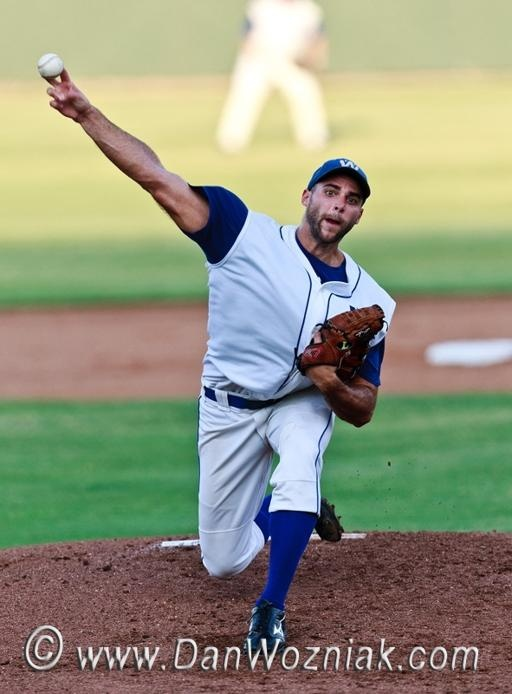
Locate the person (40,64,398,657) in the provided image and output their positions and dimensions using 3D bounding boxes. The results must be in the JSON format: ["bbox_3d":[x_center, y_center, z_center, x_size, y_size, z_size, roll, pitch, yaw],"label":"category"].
[{"bbox_3d":[0.015,0.214,4.605,1.242,2.402,1.242,-4,31,-7],"label":"person"}]

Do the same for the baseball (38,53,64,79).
[{"bbox_3d":[-0.773,-1.057,4.345,0.091,0.115,0.248,-5,28,-8],"label":"baseball"}]

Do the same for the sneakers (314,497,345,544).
[{"bbox_3d":[0.324,0.783,5.156,0.156,0.200,0.081,-1,31,3],"label":"sneakers"}]

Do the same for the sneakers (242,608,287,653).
[{"bbox_3d":[0.040,1.034,4.173,0.130,0.101,0.197,3,28,5],"label":"sneakers"}]
